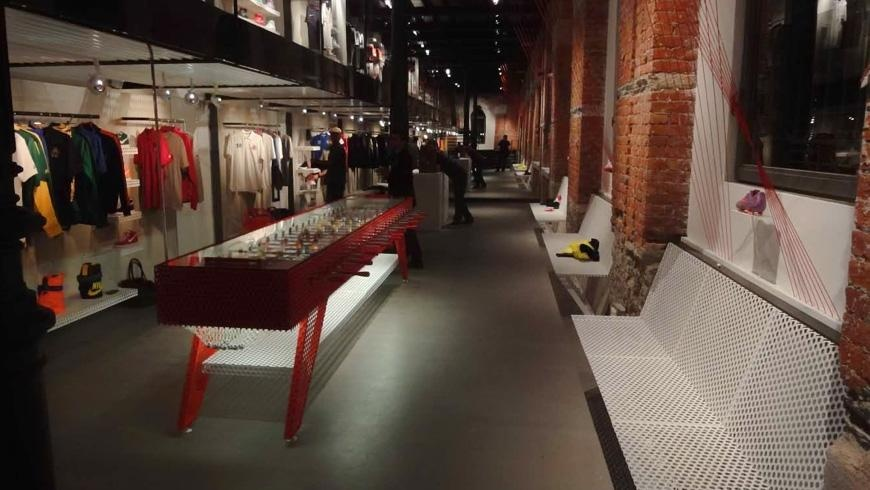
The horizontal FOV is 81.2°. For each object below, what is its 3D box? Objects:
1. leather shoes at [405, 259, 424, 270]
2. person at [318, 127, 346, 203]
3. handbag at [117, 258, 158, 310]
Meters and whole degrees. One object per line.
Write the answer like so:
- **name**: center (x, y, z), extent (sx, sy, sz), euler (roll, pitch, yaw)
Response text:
- **leather shoes**: center (-0.306, 0.267, 8.529), extent (0.260, 0.150, 0.427), euler (-2, 14, -4)
- **person**: center (-1.840, -1.540, 9.419), extent (0.380, 1.268, 1.720), euler (-4, 15, -11)
- **handbag**: center (-4.011, 0.510, 6.891), extent (0.428, 0.690, 0.687), euler (0, -1, -2)
